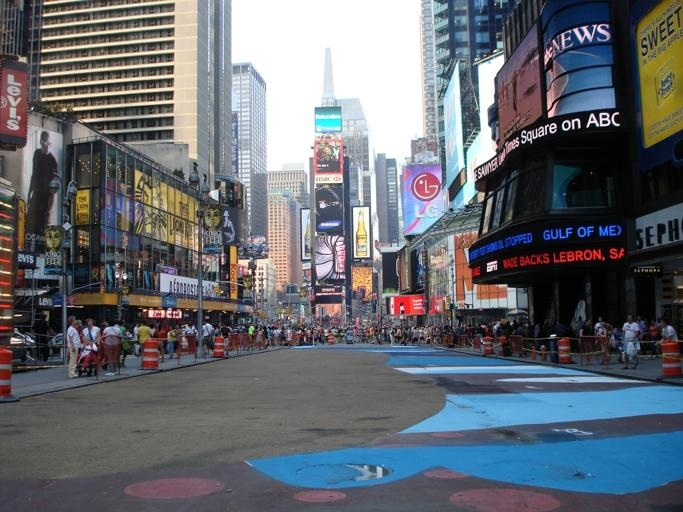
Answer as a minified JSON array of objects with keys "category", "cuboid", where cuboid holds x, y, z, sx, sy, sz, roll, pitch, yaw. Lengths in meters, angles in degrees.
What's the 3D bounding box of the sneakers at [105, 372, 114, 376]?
[{"category":"sneakers","cuboid":[-9.688,4.914,30.130,0.294,0.129,0.110,0,-15,19]}]
